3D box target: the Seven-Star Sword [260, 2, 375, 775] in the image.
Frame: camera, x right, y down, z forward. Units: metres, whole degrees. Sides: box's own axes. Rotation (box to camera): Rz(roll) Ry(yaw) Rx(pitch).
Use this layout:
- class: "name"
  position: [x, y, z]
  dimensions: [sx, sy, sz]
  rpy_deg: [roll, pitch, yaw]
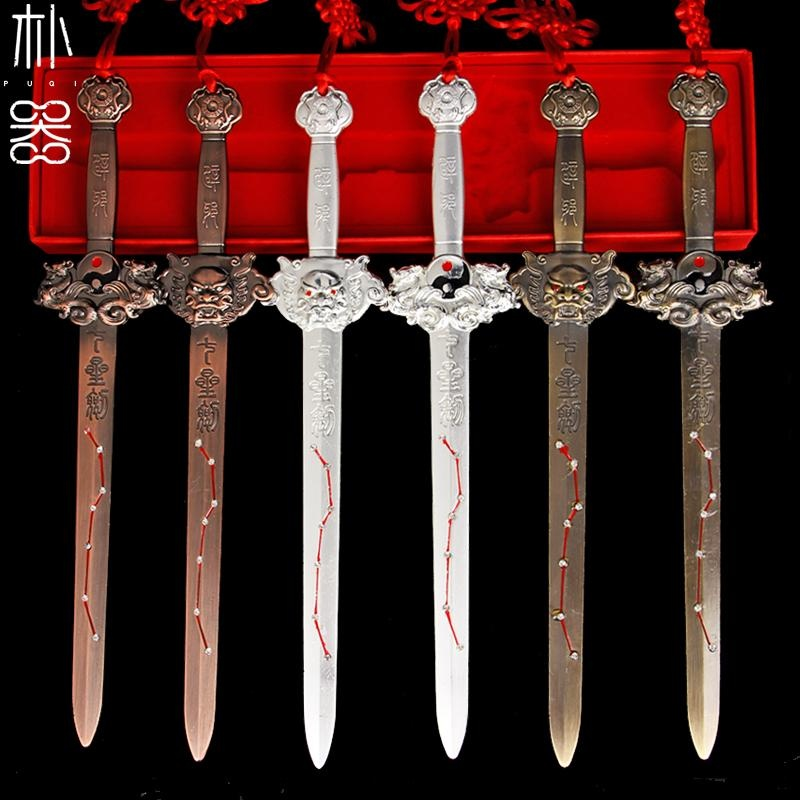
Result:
- class: "Seven-Star Sword"
  position: [-0.156, 0.013, 2.930]
  dimensions: [0.277, 1.266, 0.158]
  rpy_deg: [-3, -1, 1]

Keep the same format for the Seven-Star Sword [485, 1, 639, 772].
- class: "Seven-Star Sword"
  position: [0.339, -0.038, 2.795]
  dimensions: [0.396, 1.353, 0.142]
  rpy_deg: [-1, -3, 2]
